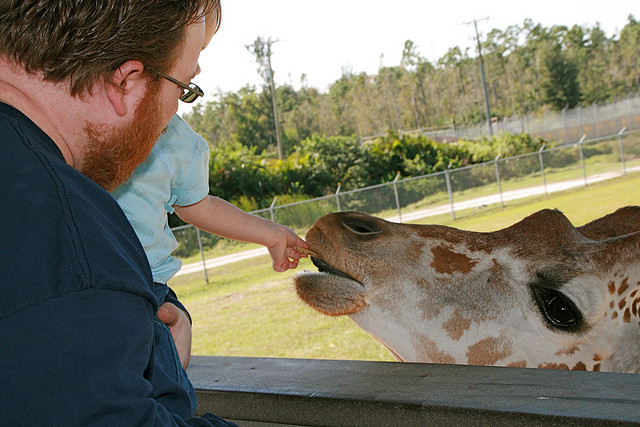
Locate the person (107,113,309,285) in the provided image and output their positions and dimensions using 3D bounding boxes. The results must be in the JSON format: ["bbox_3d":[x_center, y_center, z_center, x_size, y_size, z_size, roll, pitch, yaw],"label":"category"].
[{"bbox_3d":[-0.538,-0.121,4.311,0.761,0.480,1.818,-22,-21,-8],"label":"person"}]

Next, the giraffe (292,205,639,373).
[{"bbox_3d":[0.605,0.295,3.139,1.577,0.876,0.529,3,-3,11],"label":"giraffe"}]

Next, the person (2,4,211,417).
[{"bbox_3d":[-0.574,-0.017,1.982,0.300,0.860,0.614,-3,8,42],"label":"person"}]
